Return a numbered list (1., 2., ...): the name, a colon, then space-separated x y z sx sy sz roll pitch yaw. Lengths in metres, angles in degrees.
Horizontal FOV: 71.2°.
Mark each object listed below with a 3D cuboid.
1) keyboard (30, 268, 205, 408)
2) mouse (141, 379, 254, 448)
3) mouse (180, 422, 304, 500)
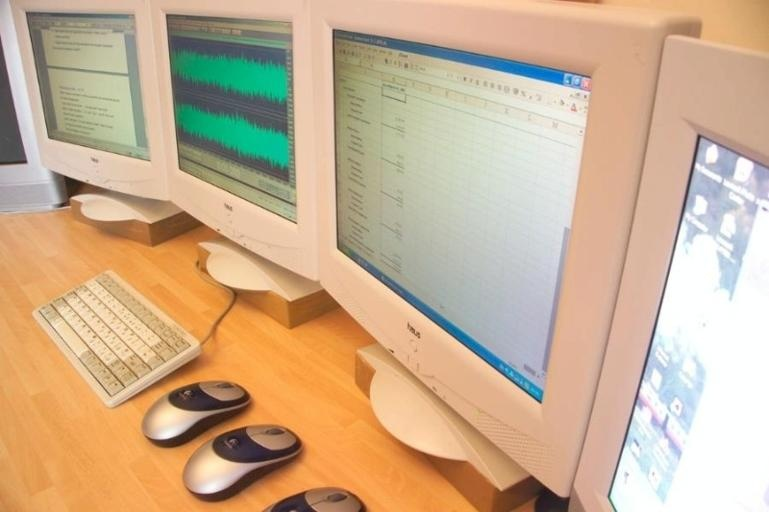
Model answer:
1. keyboard: -0.545 0.161 1.136 0.404 0.056 0.197 29 46 35
2. mouse: -0.326 0.259 0.951 0.161 0.055 0.084 -24 42 -30
3. mouse: -0.228 0.308 0.872 0.166 0.051 0.086 -21 38 -31
